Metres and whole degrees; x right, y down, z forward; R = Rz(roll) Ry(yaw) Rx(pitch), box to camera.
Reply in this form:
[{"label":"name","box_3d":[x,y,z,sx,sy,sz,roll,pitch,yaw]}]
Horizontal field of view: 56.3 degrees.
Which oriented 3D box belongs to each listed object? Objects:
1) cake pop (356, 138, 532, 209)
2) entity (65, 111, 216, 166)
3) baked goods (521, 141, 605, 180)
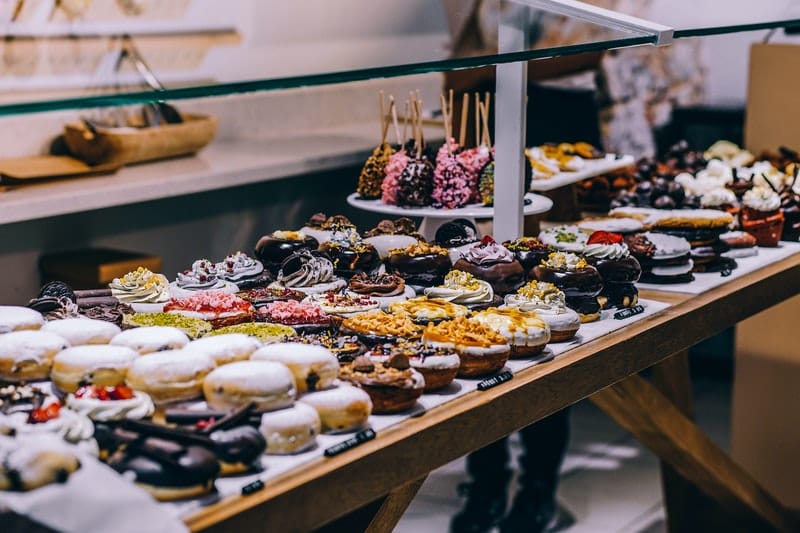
[{"label":"cake pop","box_3d":[0.117,-0.289,2.382,0.369,0.213,0.194,-6,11,5]},{"label":"entity","box_3d":[-0.780,-0.413,2.322,0.205,0.092,0.384,9,15,30]},{"label":"baked goods","box_3d":[0.646,-0.426,2.915,0.255,0.108,0.644,-3,10,19]}]
